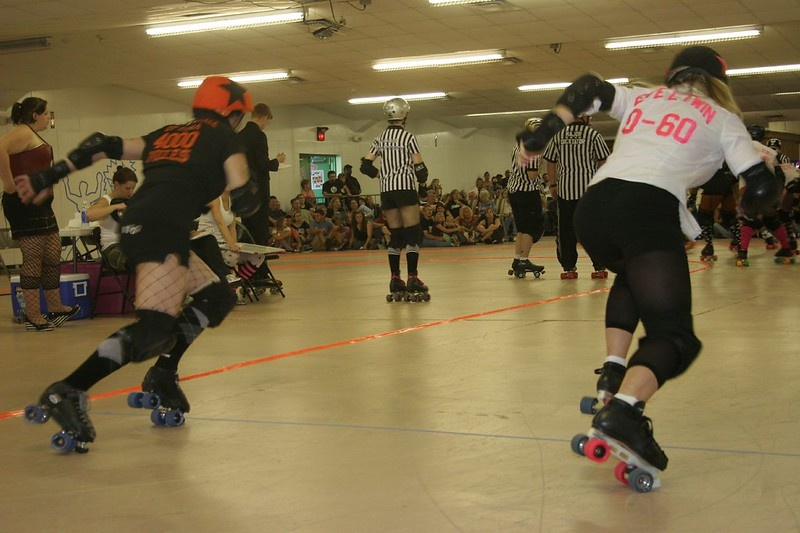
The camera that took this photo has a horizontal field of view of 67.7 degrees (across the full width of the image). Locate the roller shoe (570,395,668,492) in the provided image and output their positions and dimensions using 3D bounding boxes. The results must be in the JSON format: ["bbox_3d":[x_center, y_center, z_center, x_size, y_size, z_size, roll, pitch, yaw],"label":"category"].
[{"bbox_3d":[0.774,0.637,2.229,0.283,0.296,0.453,0,-1,6],"label":"roller shoe"}]

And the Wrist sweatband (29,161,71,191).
[{"bbox_3d":[-1.637,-0.431,2.829,0.191,0.114,0.066,-31,35,-10],"label":"Wrist sweatband"}]

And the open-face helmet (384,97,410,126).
[{"bbox_3d":[-0.010,-1.807,6.952,0.300,0.306,0.342,5,18,18],"label":"open-face helmet"}]

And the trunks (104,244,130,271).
[{"bbox_3d":[-2.540,-0.082,5.345,0.155,0.258,0.188,-38,3,-29],"label":"trunks"}]

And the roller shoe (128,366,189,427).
[{"bbox_3d":[-1.146,0.655,3.036,0.249,0.211,0.331,3,-4,31],"label":"roller shoe"}]

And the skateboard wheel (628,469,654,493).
[{"bbox_3d":[0.860,0.767,2.139,0.076,0.067,0.037,17,-7,-24],"label":"skateboard wheel"}]

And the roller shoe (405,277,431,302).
[{"bbox_3d":[0.189,0.257,6.706,0.271,0.264,0.293,-1,5,-3],"label":"roller shoe"}]

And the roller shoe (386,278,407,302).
[{"bbox_3d":[-0.053,0.258,6.806,0.218,0.253,0.203,-1,5,-3],"label":"roller shoe"}]

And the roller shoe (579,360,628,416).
[{"bbox_3d":[0.843,0.500,2.501,0.113,0.127,0.322,-3,14,22],"label":"roller shoe"}]

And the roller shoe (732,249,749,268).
[{"bbox_3d":[5.297,-0.143,9.301,0.233,0.150,0.403,-11,4,15],"label":"roller shoe"}]

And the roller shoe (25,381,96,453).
[{"bbox_3d":[-1.441,0.644,2.615,0.307,0.232,0.161,38,-1,16],"label":"roller shoe"}]
